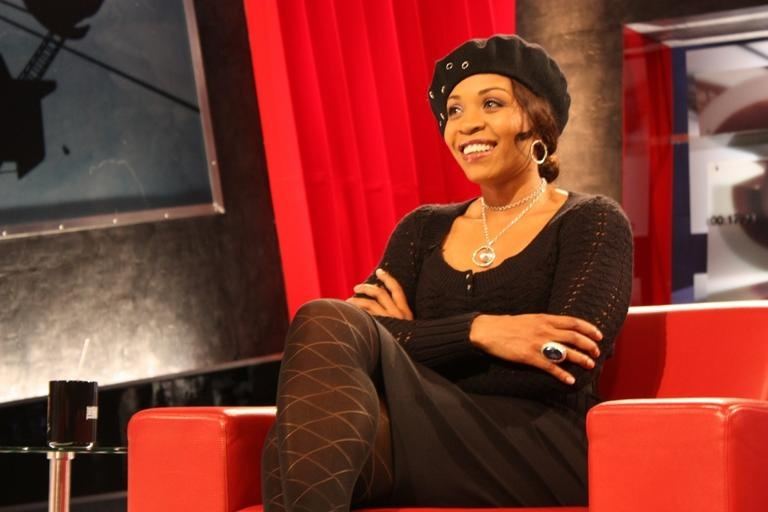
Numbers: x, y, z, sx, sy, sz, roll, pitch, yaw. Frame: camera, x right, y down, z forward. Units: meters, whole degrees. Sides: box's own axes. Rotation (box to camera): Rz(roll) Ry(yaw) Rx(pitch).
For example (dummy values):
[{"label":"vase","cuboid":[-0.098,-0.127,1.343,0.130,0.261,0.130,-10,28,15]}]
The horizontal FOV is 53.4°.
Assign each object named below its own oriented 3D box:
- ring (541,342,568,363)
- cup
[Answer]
[{"label":"ring","cuboid":[0.398,0.223,1.776,0.047,0.047,0.013,27,32,1]},{"label":"cup","cuboid":[-0.851,0.427,2.076,0.123,0.127,0.122,-3,-1,0]}]
